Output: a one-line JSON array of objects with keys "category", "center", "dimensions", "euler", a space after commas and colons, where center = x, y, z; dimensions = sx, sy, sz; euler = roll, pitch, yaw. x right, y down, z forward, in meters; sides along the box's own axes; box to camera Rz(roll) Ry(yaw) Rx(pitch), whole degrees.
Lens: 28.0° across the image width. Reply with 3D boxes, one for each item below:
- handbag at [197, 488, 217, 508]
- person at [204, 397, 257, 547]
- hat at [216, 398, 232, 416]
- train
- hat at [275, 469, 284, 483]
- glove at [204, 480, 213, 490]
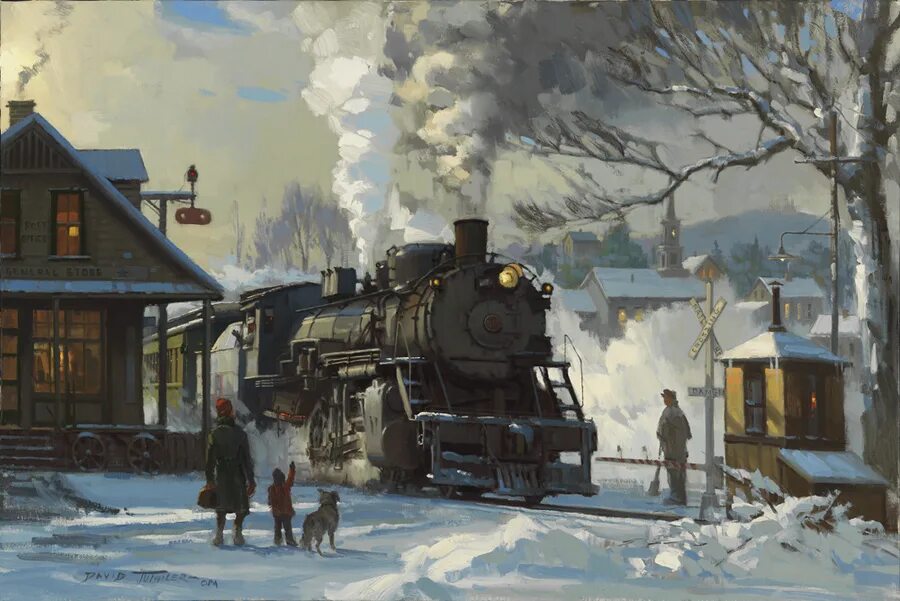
[{"category": "handbag", "center": [-4.626, 3.702, 34.316], "dimensions": [0.273, 0.391, 0.386], "euler": [10, -2, -39]}, {"category": "person", "center": [-4.175, 3.226, 34.369], "dimensions": [0.893, 2.732, 1.172], "euler": [-1, -8, -7]}, {"category": "hat", "center": [-4.278, 1.962, 34.257], "dimensions": [0.347, 0.336, 0.276], "euler": [-4, 2, -11]}, {"category": "train", "center": [-0.993, 1.539, 40.124], "dimensions": [3.495, 6.062, 8.867], "euler": [4, -10, -35]}, {"category": "hat", "center": [-3.246, 3.280, 34.322], "dimensions": [0.181, 0.241, 0.625], "euler": [-1, -9, -5]}, {"category": "glove", "center": [-4.585, 3.457, 34.210], "dimensions": [0.172, 0.144, 0.146], "euler": [1, -7, 6]}]
